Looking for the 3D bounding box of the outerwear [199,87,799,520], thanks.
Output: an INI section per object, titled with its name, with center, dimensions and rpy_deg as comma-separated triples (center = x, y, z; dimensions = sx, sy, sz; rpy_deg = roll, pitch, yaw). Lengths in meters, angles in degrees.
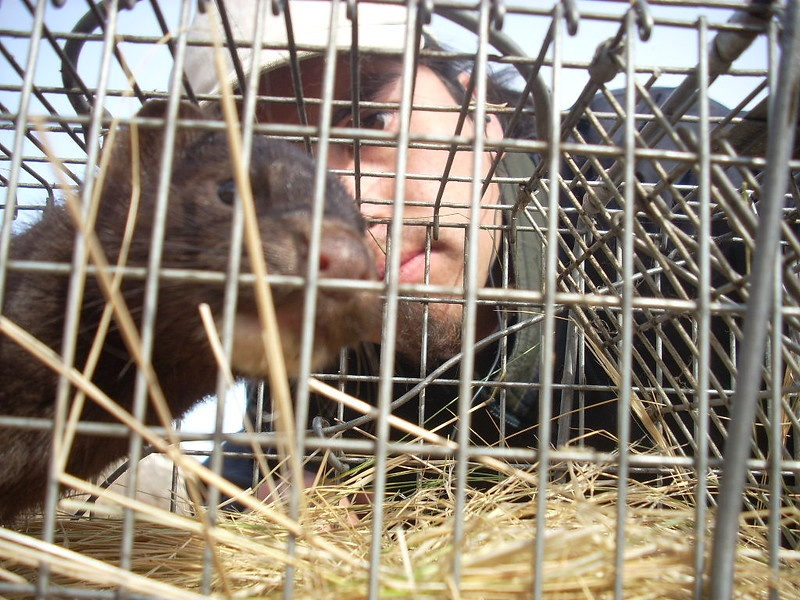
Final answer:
[outerwear]
center = 0.231, 0.010, 1.882
dimensions = 1.266, 0.986, 0.933
rpy_deg = 1, -26, 0
